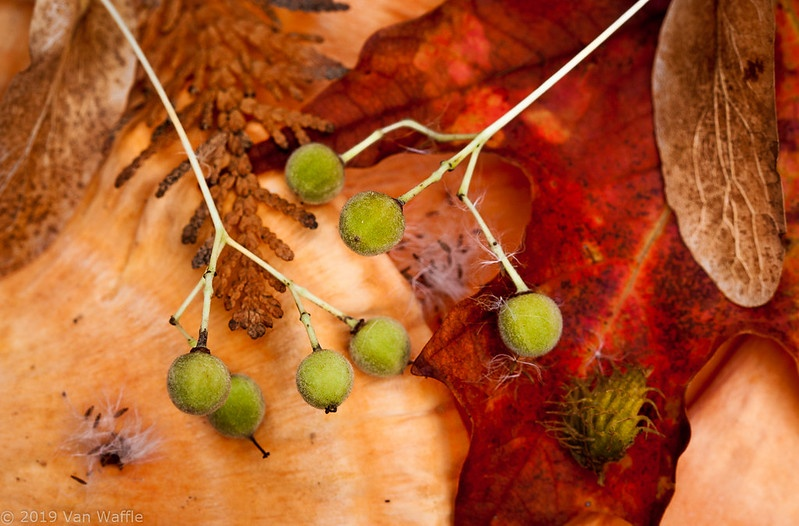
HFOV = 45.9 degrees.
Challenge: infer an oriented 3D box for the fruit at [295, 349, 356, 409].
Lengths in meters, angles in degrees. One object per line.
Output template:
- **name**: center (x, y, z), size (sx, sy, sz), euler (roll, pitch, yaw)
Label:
- **fruit**: center (-0.182, 0.275, 2.273), size (0.105, 0.112, 0.154), euler (-14, 75, -13)

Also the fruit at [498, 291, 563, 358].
- **fruit**: center (0.321, 0.162, 2.343), size (0.146, 0.122, 0.211), euler (7, 39, 10)

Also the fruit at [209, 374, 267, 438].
- **fruit**: center (-0.398, 0.362, 2.356), size (0.102, 0.175, 0.123), euler (-3, 32, -1)

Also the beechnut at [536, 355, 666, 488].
- **beechnut**: center (0.505, 0.377, 2.425), size (0.256, 0.306, 0.123), euler (-25, 12, 10)

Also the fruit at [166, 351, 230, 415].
- **fruit**: center (-0.476, 0.281, 2.230), size (0.121, 0.188, 0.138), euler (2, 3, 11)

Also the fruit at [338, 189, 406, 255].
- **fruit**: center (-0.065, -0.095, 2.230), size (0.122, 0.156, 0.084), euler (38, 2, 1)

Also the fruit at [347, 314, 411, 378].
- **fruit**: center (-0.051, 0.179, 2.410), size (0.141, 0.144, 0.133), euler (5, 29, 16)
